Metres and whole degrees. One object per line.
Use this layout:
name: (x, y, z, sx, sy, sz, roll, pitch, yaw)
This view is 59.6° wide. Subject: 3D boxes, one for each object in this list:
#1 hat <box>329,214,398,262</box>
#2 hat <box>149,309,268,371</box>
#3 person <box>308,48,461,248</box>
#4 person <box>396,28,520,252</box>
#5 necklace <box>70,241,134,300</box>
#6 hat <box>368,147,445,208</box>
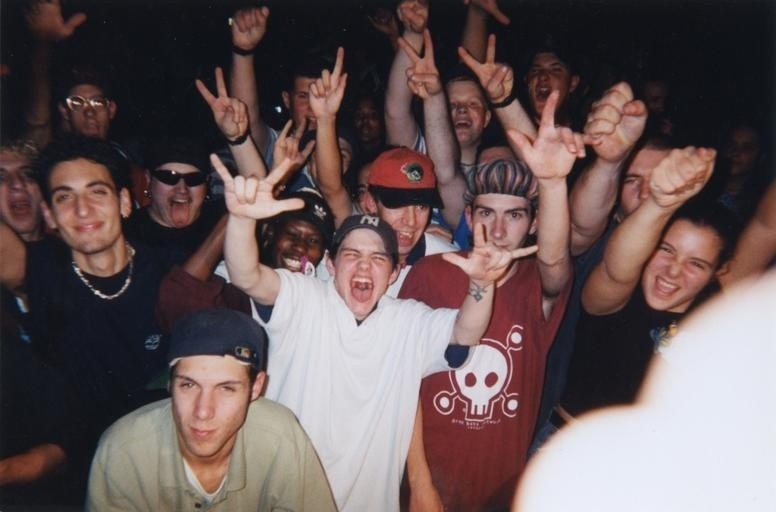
hat: (-0.117, -0.077, 3.552, 0.362, 0.276, 0.216, 6, 31, 0)
hat: (-0.865, 0.416, 3.412, 0.461, 0.219, 0.249, 5, 31, -2)
person: (-0.016, -0.543, 3.743, 0.786, 1.214, 0.729, -3, 4, -20)
person: (0.341, -0.620, 3.852, 0.660, 1.127, 0.319, -9, 6, -10)
necklace: (-1.521, 0.098, 3.564, 0.260, 0.339, 0.087, -19, 6, -3)
hat: (0.090, -0.405, 3.690, 0.276, 0.213, 0.367, -2, 27, -20)
